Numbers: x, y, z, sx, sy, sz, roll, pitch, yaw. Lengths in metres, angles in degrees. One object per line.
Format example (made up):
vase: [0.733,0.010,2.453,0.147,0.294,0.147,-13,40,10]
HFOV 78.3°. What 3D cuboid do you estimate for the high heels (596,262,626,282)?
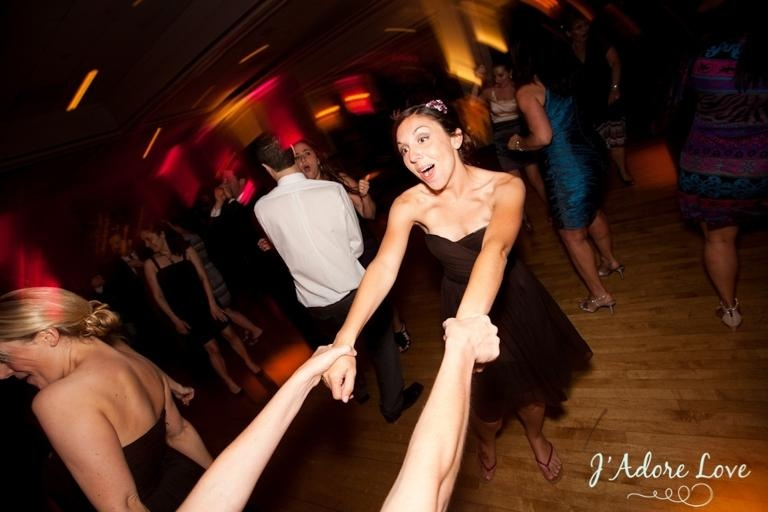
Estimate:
high heels: [2.360,0.150,4.931,0.352,0.155,0.130,7,47,34]

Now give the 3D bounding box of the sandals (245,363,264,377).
sandals: [-1.578,1.350,5.683,0.231,0.201,0.104,-13,26,30]

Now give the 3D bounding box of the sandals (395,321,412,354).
sandals: [0.216,0.898,5.229,0.152,0.346,0.085,-16,-12,21]

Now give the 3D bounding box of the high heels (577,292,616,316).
high heels: [2.115,0.470,4.681,0.269,0.145,0.158,5,32,42]

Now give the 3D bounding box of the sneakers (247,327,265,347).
sneakers: [-1.730,1.097,6.355,0.330,0.237,0.114,-43,24,47]

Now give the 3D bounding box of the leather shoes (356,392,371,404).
leather shoes: [-0.226,1.467,4.913,0.125,0.094,0.126,-28,3,46]

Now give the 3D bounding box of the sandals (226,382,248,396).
sandals: [-1.721,1.538,5.497,0.134,0.121,0.190,-40,25,-31]

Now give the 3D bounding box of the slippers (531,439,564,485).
slippers: [1.353,1.686,3.886,0.153,0.082,0.343,-39,61,16]

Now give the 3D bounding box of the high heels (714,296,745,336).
high heels: [3.061,0.531,4.167,0.139,0.122,0.302,-9,50,26]
